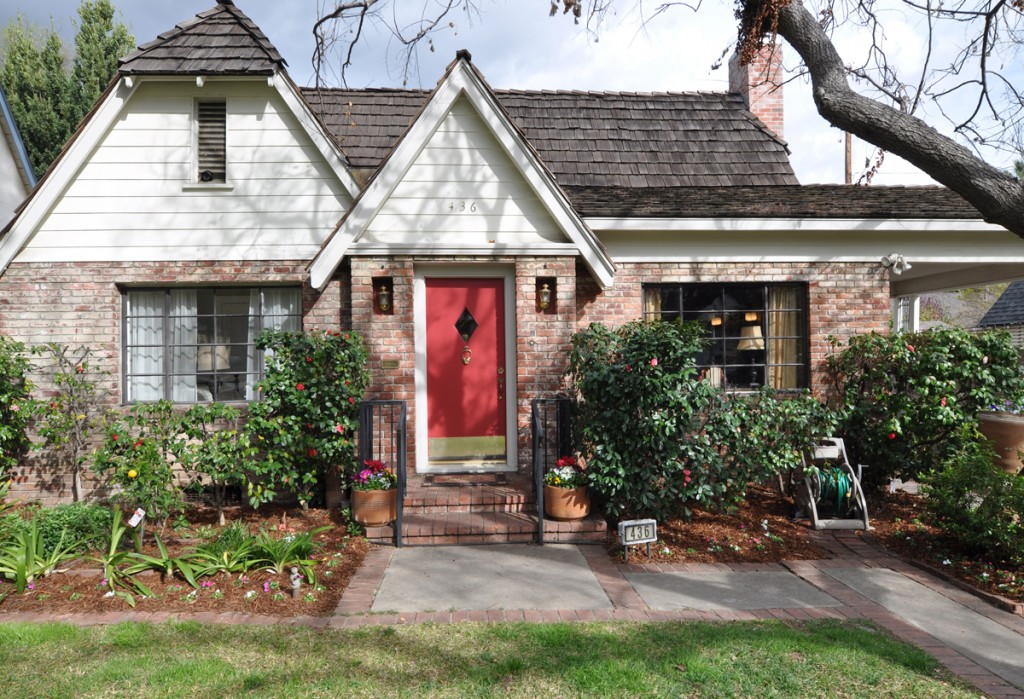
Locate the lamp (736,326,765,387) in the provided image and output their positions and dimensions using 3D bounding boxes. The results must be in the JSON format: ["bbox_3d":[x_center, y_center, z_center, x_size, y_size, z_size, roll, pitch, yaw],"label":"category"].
[{"bbox_3d":[4.044,0.164,14.731,0.532,1.067,0.564,-6,-8,17],"label":"lamp"}]

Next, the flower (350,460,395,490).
[{"bbox_3d":[-2.036,1.846,12.452,0.459,0.328,0.467,1,-2,-8],"label":"flower"}]

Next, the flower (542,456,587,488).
[{"bbox_3d":[0.756,1.799,12.607,0.417,0.256,0.416,4,1,7],"label":"flower"}]

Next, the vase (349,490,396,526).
[{"bbox_3d":[-1.982,2.271,12.348,0.533,0.404,0.518,5,-10,-35],"label":"vase"}]

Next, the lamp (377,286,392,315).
[{"bbox_3d":[-1.974,-0.750,13.351,0.210,0.426,0.140,2,-4,-18],"label":"lamp"}]

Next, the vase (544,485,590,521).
[{"bbox_3d":[0.779,2.206,12.363,0.523,0.398,0.513,3,-7,-28],"label":"vase"}]

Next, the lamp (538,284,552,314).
[{"bbox_3d":[0.490,-0.793,13.390,0.217,0.448,0.215,1,-4,-2],"label":"lamp"}]
